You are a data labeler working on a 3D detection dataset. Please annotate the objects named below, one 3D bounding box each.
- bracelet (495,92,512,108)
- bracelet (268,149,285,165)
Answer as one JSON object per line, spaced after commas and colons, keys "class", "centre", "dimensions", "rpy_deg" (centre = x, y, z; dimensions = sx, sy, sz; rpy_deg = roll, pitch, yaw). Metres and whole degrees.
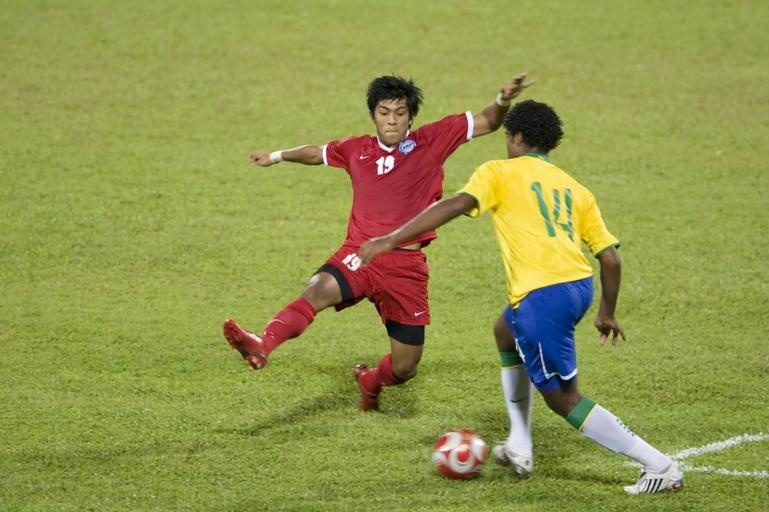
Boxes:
{"class": "bracelet", "centre": [1.196, -1.539, 12.118], "dimensions": [0.137, 0.134, 0.144], "rpy_deg": [-4, 7, 0]}
{"class": "bracelet", "centre": [-1.173, -1.034, 12.932], "dimensions": [0.133, 0.085, 0.336], "rpy_deg": [-32, 15, -28]}
